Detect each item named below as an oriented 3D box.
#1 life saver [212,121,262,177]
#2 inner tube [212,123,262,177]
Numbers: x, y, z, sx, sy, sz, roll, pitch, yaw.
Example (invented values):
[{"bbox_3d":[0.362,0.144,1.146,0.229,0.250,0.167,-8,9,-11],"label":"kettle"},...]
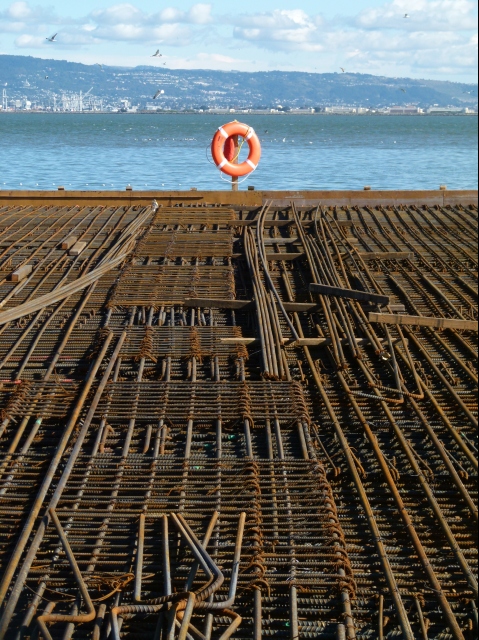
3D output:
[{"bbox_3d":[-0.324,-5.213,17.136,1.769,1.828,0.508,1,0,-36],"label":"life saver"},{"bbox_3d":[-0.177,-5.183,17.047,1.748,1.805,0.508,-1,1,-35],"label":"inner tube"}]
